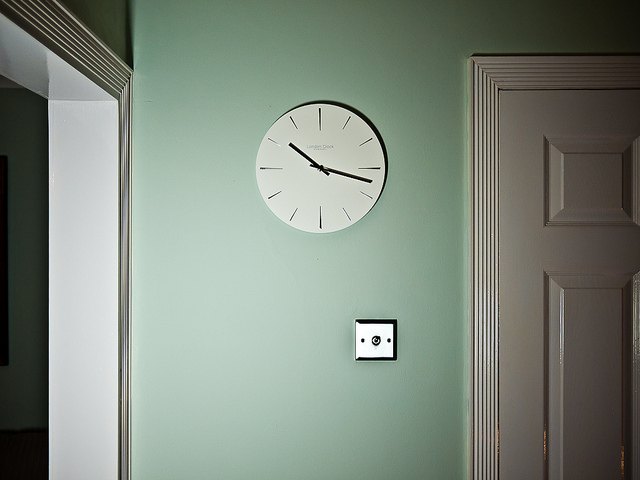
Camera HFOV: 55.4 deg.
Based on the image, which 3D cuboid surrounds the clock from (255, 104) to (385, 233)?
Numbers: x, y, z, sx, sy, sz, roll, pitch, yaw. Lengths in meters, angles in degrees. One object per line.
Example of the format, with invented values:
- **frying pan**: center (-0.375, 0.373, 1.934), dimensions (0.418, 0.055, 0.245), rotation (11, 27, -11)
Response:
- **clock**: center (-0.016, -0.260, 2.182), dimensions (0.370, 0.459, 0.028), rotation (1, -2, -1)
